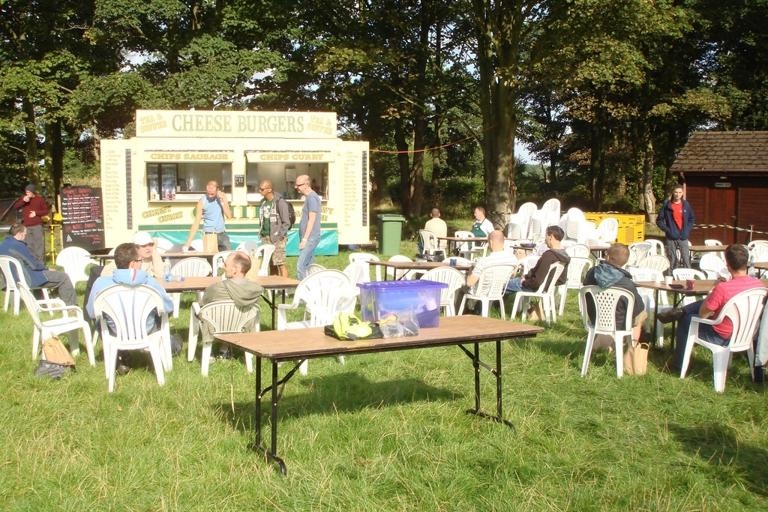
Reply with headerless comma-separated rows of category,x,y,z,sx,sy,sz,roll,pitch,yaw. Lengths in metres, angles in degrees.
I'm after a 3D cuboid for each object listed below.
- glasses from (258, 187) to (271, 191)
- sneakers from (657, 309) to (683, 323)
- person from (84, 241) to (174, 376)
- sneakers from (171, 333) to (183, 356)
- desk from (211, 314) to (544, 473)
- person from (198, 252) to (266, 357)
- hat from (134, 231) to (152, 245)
glasses,-2.116,-1.189,13.471,0.138,0.081,0.107,-5,13,-30
sneakers,3.978,0.821,10.228,0.123,0.163,0.344,1,-2,-22
person,-3.309,0.658,9.728,1.025,1.668,1.106,-5,12,-22
sneakers,-2.874,1.240,10.335,0.167,0.330,0.246,-5,-4,10
desk,-0.151,1.340,8.037,3.126,1.260,1.321,-4,12,-17
person,-2.111,0.443,9.282,0.597,1.369,0.747,-4,43,-27
hat,-3.561,-0.251,10.987,0.229,0.147,0.322,-10,11,-33
